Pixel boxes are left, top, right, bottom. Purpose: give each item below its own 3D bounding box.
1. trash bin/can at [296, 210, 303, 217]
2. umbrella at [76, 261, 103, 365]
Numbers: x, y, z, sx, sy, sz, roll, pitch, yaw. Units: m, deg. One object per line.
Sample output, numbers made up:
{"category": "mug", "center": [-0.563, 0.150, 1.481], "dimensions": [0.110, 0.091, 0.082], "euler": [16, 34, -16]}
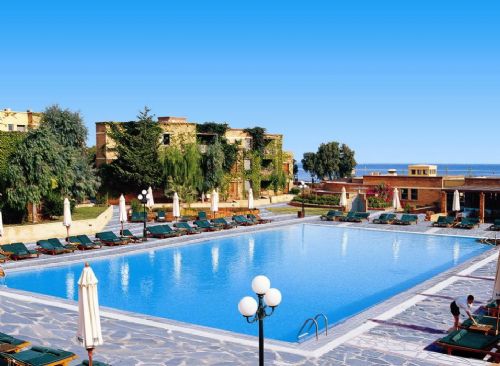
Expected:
{"category": "trash bin/can", "center": [4.192, 2.582, 42.750], "dimensions": [0.668, 0.637, 0.469], "euler": [2, 4, 35]}
{"category": "umbrella", "center": [-4.771, 3.819, 15.118], "dimensions": [0.824, 2.918, 0.566], "euler": [1, 3, 44]}
